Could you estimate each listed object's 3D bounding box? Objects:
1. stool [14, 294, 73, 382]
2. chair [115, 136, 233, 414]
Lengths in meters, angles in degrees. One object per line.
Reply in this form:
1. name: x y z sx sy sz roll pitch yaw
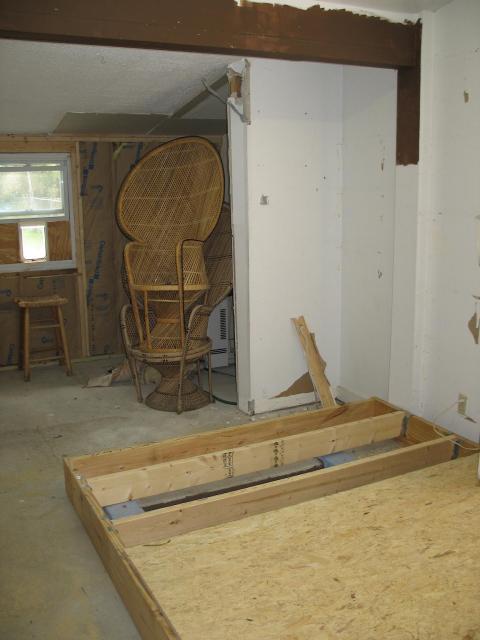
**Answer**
1. stool: -1.794 0.135 4.941 0.443 0.666 0.402 -6 14 -29
2. chair: -0.481 -0.382 4.131 0.874 1.951 1.070 -3 10 -6
